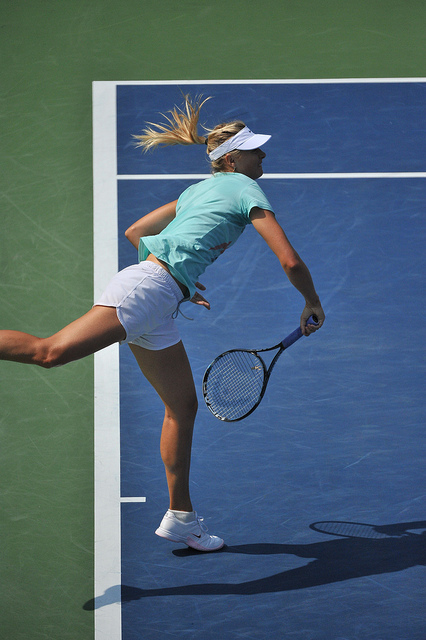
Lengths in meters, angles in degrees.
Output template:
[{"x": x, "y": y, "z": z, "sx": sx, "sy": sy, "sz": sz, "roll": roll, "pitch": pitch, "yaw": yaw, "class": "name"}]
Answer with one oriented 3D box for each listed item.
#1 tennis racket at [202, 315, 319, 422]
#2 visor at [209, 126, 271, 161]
[{"x": 0.309, "y": 0.336, "z": 4.928, "sx": 0.809, "sy": 0.081, "sz": 0.292, "roll": -30, "pitch": 73, "yaw": -3, "class": "tennis racket"}, {"x": 0.147, "y": -0.965, "z": 4.349, "sx": 0.278, "sy": 0.165, "sz": 0.081, "roll": -22, "pitch": 101, "yaw": 10, "class": "visor"}]
